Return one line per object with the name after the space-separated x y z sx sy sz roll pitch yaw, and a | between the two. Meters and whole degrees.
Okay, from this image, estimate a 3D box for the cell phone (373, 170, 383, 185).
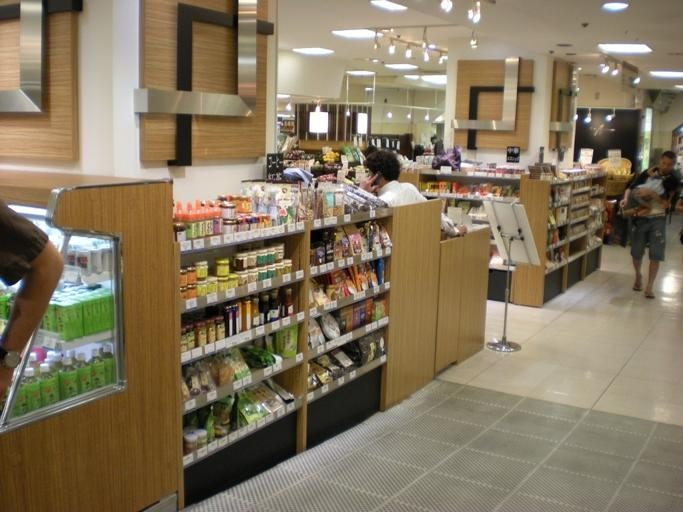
0.369 -0.818 5.367 0.095 0.138 0.133 6 19 1 | cell phone

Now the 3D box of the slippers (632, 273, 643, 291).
5.356 0.514 9.098 0.125 0.176 0.428 2 15 20 | slippers

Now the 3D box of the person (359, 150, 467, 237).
0.695 -0.659 5.319 0.934 0.893 0.779 -4 12 -21 | person

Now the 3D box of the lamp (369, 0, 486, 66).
1.475 -3.822 8.604 1.539 0.367 1.583 18 24 30 | lamp

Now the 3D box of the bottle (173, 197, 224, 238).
-0.895 -0.223 3.130 0.219 0.222 0.304 0 4 -14 | bottle

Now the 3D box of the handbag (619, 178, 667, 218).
5.287 -0.966 8.826 0.715 0.608 0.308 -27 -13 17 | handbag

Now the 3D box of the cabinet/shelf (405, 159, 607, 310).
3.505 -0.492 9.561 2.425 2.069 3.486 4 7 33 | cabinet/shelf

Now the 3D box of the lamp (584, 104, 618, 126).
8.292 -4.481 16.084 0.817 0.814 0.196 5 2 23 | lamp

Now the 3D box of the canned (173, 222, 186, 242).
-0.963 -0.139 2.983 0.085 0.144 0.087 3 5 40 | canned

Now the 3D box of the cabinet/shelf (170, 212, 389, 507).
-0.491 0.761 3.604 0.548 1.327 1.711 10 13 42 | cabinet/shelf
